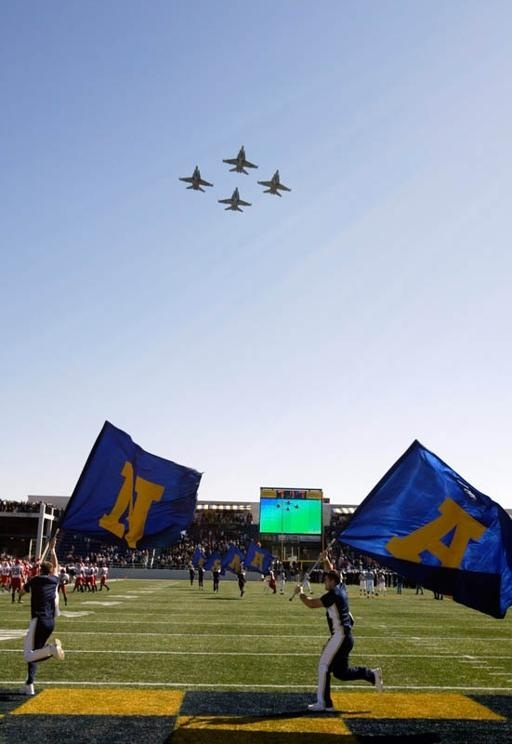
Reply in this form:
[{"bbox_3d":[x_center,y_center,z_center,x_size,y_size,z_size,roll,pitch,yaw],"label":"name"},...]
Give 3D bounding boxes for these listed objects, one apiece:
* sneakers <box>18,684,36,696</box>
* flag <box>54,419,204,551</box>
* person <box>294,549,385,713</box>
[{"bbox_3d":[-2.412,3.329,8.543,0.077,0.104,0.228,12,-14,-35],"label":"sneakers"},{"bbox_3d":[-1.466,1.363,9.682,0.617,1.450,1.583,-12,-20,41],"label":"flag"},{"bbox_3d":[0.858,2.690,8.524,0.846,1.502,2.148,0,-15,5],"label":"person"}]
